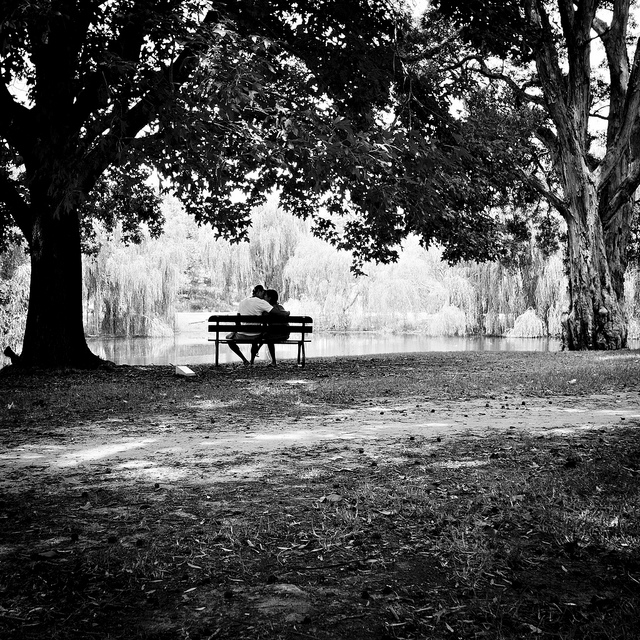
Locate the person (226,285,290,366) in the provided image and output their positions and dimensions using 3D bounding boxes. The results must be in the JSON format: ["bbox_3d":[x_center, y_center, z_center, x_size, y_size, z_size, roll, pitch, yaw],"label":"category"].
[{"bbox_3d":[-1.068,0.049,17.131,1.005,1.811,1.397,1,6,11],"label":"person"}]

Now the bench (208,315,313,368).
[{"bbox_3d":[-1.107,0.364,16.791,1.783,1.026,1.615,0,6,-7],"label":"bench"}]
